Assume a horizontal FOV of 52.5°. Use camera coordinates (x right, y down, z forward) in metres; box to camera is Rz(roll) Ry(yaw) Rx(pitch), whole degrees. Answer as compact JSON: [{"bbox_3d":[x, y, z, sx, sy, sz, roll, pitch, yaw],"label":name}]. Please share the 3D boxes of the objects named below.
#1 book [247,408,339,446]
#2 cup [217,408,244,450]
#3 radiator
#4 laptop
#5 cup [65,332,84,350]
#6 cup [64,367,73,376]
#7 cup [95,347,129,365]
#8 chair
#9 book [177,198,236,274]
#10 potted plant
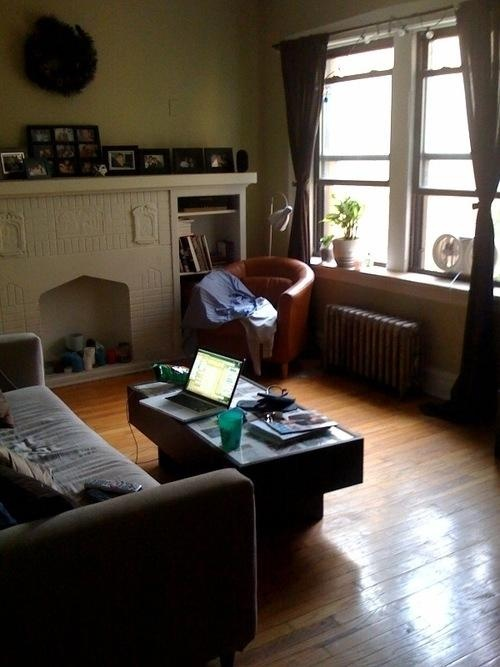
[{"bbox_3d":[0.166,0.402,2.204,0.181,0.043,0.176,-11,18,-29],"label":"book"},{"bbox_3d":[-0.080,0.382,2.061,0.098,0.159,0.109,-2,11,-6],"label":"cup"},{"bbox_3d":[0.992,0.156,4.021,0.214,0.437,0.666,-12,22,-32],"label":"radiator"},{"bbox_3d":[-0.285,0.232,2.445,0.474,0.247,0.515,0,8,-14],"label":"laptop"},{"bbox_3d":[-1.559,0.062,4.487,0.140,0.199,0.143,4,22,-2],"label":"cup"},{"bbox_3d":[-1.556,0.321,4.297,0.056,0.041,0.057,2,7,0],"label":"cup"},{"bbox_3d":[-1.236,0.185,4.505,0.146,0.172,0.238,-6,6,-41],"label":"cup"},{"bbox_3d":[0.095,-0.237,4.581,0.953,0.833,0.922,7,17,27],"label":"chair"},{"bbox_3d":[-0.423,-0.931,4.793,0.199,0.595,0.622,12,19,32],"label":"book"},{"bbox_3d":[0.821,-0.875,4.444,0.317,0.604,0.302,2,10,12],"label":"potted plant"}]
